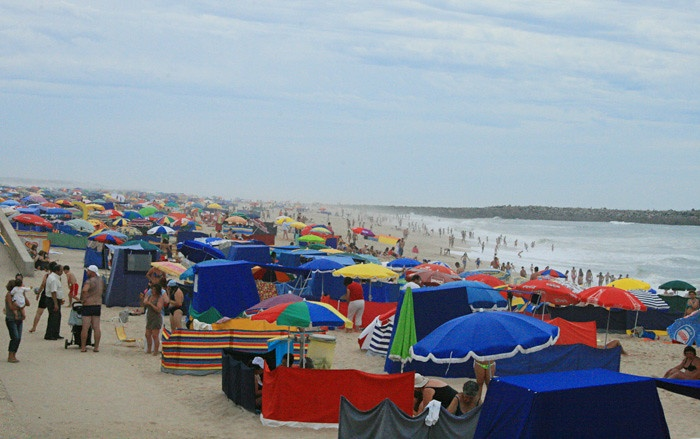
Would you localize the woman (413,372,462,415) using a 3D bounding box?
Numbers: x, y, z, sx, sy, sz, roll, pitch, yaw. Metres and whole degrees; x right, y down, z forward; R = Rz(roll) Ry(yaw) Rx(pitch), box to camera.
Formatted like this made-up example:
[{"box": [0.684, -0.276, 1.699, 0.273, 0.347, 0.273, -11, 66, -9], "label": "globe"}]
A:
[{"box": [2.006, 4.204, 17.087, 1.198, 1.167, 0.785, -1, 4, 12], "label": "woman"}]

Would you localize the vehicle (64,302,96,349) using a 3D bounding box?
[{"box": [-7.560, 2.851, 20.569, 0.836, 1.103, 0.857, -1, 4, -6], "label": "vehicle"}]
